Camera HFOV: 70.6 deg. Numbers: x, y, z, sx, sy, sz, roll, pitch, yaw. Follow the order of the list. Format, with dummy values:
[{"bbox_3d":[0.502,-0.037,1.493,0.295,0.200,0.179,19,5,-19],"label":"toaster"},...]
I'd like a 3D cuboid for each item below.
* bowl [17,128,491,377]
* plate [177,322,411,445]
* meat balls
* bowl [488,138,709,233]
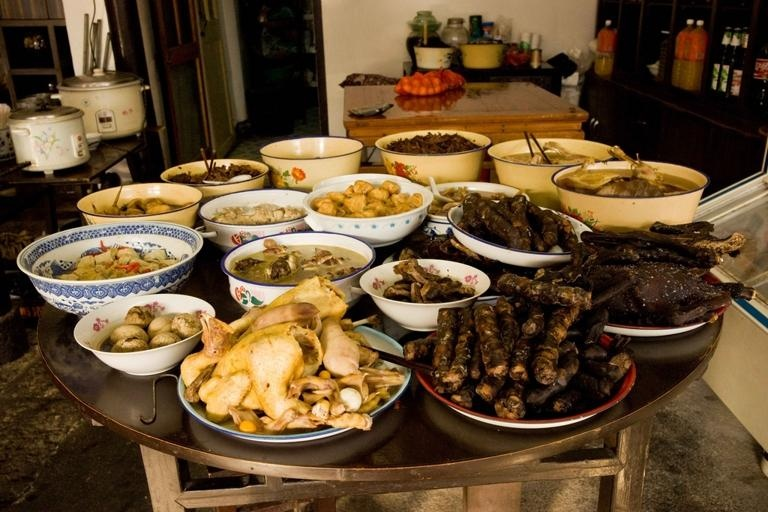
[{"bbox_3d":[-0.524,-0.160,2.185,1.330,0.273,1.236,-5,26,2],"label":"bowl"},{"bbox_3d":[-0.174,0.379,1.488,0.421,0.056,0.364,1,22,2],"label":"plate"},{"bbox_3d":[-0.665,0.215,1.570,0.232,0.080,0.178,5,14,17],"label":"meat balls"},{"bbox_3d":[0.834,-0.283,2.222,1.045,0.332,0.646,-2,16,-5],"label":"bowl"}]
